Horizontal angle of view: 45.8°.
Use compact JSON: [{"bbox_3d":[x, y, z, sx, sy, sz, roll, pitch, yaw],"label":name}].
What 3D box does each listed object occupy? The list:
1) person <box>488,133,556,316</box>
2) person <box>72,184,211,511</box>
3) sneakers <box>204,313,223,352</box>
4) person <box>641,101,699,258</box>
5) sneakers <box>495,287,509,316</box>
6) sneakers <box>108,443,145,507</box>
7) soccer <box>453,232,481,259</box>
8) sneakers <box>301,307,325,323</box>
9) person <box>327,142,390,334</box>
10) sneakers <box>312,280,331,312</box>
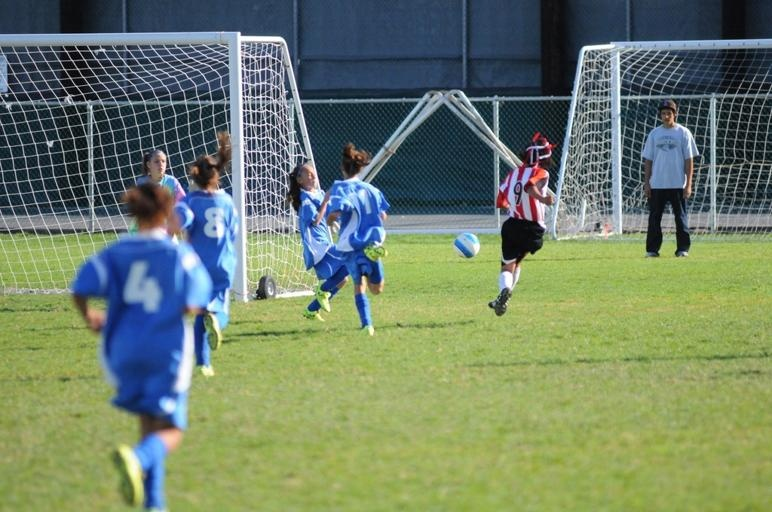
[{"bbox_3d":[1.398,-0.350,9.398,0.619,1.830,1.201,1,10,10],"label":"person"},{"bbox_3d":[-1.537,0.626,5.873,0.836,2.185,0.408,-4,10,-19],"label":"person"},{"bbox_3d":[-1.376,0.605,7.301,0.066,0.269,0.162,-22,9,-35],"label":"sneakers"},{"bbox_3d":[3.769,-1.027,12.227,0.677,2.083,0.592,2,10,15],"label":"person"},{"bbox_3d":[1.178,0.458,9.059,0.118,0.298,0.146,17,-6,-10],"label":"sneakers"},{"bbox_3d":[-1.620,1.396,5.785,0.156,0.418,0.185,-13,-1,4],"label":"sneakers"},{"bbox_3d":[0.891,-0.112,10.016,0.229,0.258,0.293,-2,10,-8],"label":"soccer"},{"bbox_3d":[-0.719,0.593,9.199,0.170,0.073,0.119,12,0,-28],"label":"sneakers"},{"bbox_3d":[-0.263,-0.176,8.715,0.571,1.768,0.604,-1,10,-1],"label":"person"},{"bbox_3d":[-0.641,0.402,9.179,0.149,0.330,0.112,-37,-15,31],"label":"sneakers"}]
